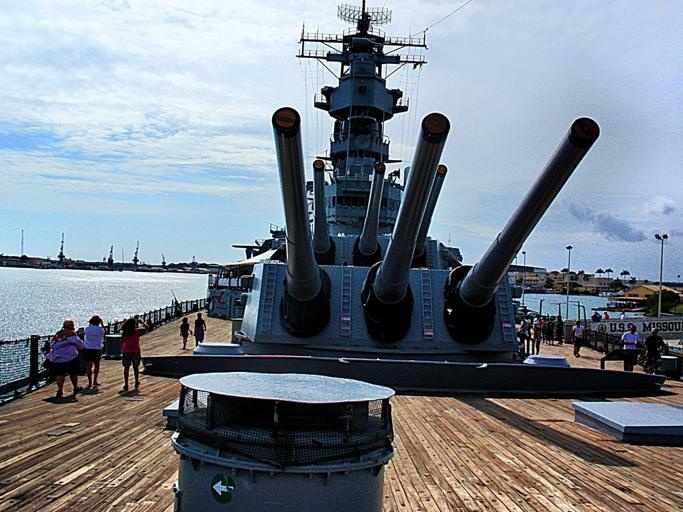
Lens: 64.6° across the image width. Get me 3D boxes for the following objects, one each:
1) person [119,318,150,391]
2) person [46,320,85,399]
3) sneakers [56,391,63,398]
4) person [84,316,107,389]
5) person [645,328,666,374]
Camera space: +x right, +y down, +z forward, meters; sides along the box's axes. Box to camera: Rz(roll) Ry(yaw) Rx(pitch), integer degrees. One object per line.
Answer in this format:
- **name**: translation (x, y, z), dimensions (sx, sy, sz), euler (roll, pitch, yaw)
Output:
- **person**: translation (-3.632, 1.662, 9.442), dimensions (0.396, 1.298, 1.302), euler (4, -1, -20)
- **person**: translation (-4.442, 1.616, 8.645), dimensions (0.518, 1.307, 1.025), euler (4, -1, -29)
- **sneakers**: translation (-4.437, 2.189, 8.479), dimensions (0.071, 0.069, 0.123), euler (-4, 28, -15)
- **person**: translation (-4.491, 1.644, 9.771), dimensions (0.303, 1.330, 1.820), euler (4, -1, -24)
- **person**: translation (7.336, 2.179, 12.646), dimensions (0.367, 0.926, 1.394), euler (3, -1, 30)
